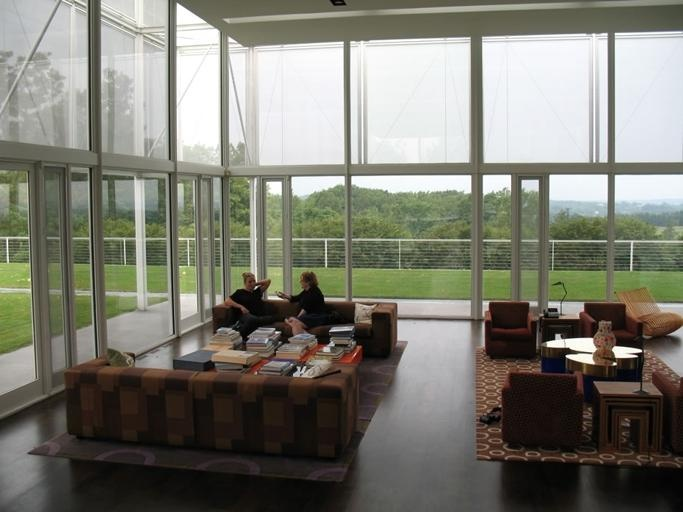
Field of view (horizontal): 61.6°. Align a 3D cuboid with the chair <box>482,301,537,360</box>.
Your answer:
[{"bbox_3d":[2.868,1.249,9.734,0.912,0.933,0.914,0,-1,14],"label":"chair"}]

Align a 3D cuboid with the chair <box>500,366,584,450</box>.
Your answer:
[{"bbox_3d":[2.374,1.750,6.943,0.904,0.933,0.901,0,5,16],"label":"chair"}]

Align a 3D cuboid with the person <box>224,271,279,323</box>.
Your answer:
[{"bbox_3d":[-1.627,0.759,10.357,0.735,0.958,0.779,-2,-4,19],"label":"person"}]
